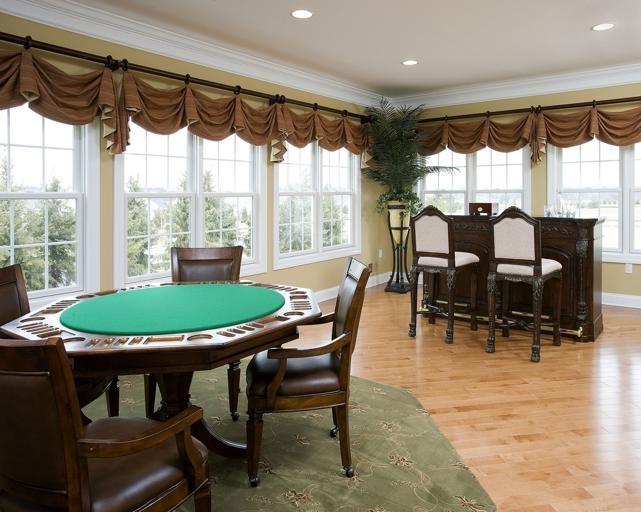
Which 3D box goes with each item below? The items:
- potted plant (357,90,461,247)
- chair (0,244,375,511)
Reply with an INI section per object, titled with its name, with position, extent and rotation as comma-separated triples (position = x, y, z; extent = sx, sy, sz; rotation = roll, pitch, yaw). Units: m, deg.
[potted plant]
position = 1.181, -1.494, 7.160
extent = 1.079, 1.747, 0.825
rotation = 1, 11, 9
[chair]
position = -0.587, 0.638, 2.714
extent = 1.828, 1.140, 1.024
rotation = -4, 11, -22
